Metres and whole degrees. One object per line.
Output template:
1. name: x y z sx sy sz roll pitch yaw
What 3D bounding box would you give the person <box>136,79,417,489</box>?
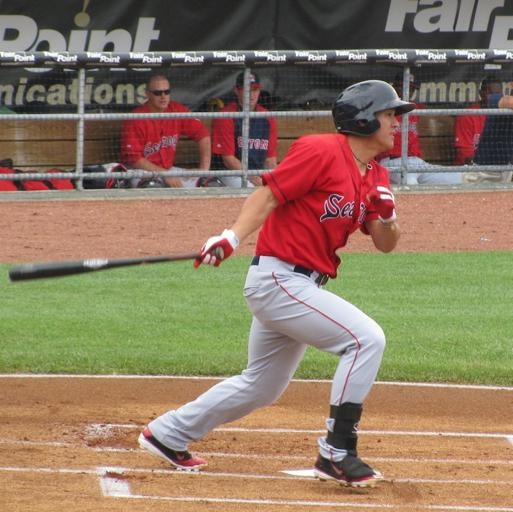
1. person: 0.158 0.131 5.592 1.177 2.118 0.864 4 16 12

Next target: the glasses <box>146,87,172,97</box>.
1. glasses: -0.971 -1.613 10.141 0.177 0.041 0.160 -3 4 -21

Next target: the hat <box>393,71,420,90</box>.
1. hat: 1.516 -1.762 10.547 0.242 0.054 0.225 19 59 20

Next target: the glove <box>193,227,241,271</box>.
1. glove: -0.220 -0.040 5.360 0.220 0.200 0.184 -3 15 -15

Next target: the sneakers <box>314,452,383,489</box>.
1. sneakers: 0.474 1.137 5.464 0.354 0.136 0.148 3 0 14

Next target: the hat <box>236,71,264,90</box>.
1. hat: -0.095 -1.726 10.167 0.193 0.224 0.134 1 36 0

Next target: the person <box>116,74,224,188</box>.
1. person: -0.907 -1.208 10.249 0.988 0.954 0.762 -15 38 -35

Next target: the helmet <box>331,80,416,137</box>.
1. helmet: 0.653 -0.794 5.557 0.468 0.215 0.279 0 -1 12

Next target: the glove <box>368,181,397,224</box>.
1. glove: 0.675 -0.290 5.574 0.151 0.197 0.075 -5 39 16

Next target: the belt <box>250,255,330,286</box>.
1. belt: 0.192 0.116 5.441 0.284 0.072 0.197 21 2 -7
